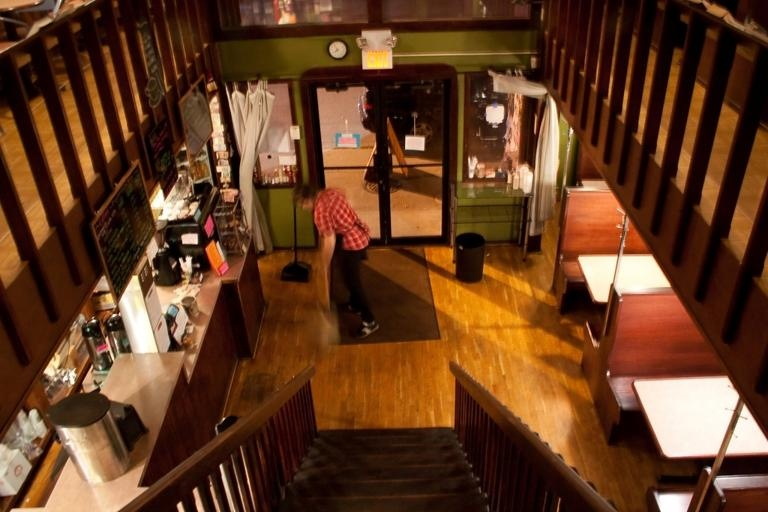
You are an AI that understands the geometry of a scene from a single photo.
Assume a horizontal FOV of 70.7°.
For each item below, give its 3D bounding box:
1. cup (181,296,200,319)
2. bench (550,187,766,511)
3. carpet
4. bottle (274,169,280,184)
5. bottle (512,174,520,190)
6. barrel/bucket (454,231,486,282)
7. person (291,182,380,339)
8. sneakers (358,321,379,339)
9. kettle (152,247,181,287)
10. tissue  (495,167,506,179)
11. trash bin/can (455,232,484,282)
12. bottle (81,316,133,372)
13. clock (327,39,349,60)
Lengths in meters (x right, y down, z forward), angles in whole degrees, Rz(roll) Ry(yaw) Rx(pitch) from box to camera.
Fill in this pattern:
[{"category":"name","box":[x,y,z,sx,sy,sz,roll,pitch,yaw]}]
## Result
[{"category":"cup","box":[-2.091,0.556,5.932,0.145,0.207,0.237,-7,36,-16]},{"category":"bench","box":[3.118,0.410,6.548,1.510,1.547,2.917,-3,35,0]},{"category":"carpet","box":[0.116,0.612,7.840,1.031,0.030,1.683,-1,40,1]},{"category":"bottle","box":[-1.642,-1.157,8.378,0.102,0.187,0.038,-8,23,-10]},{"category":"bottle","box":[1.998,-1.051,8.229,0.084,0.219,0.120,-12,24,-20]},{"category":"barrel/bucket","box":[1.252,0.086,7.986,0.540,0.632,0.624,-1,40,3]},{"category":"person","box":[-0.706,0.164,7.590,0.857,2.036,0.835,-16,46,2]},{"category":"sneakers","box":[-0.203,0.994,7.250,0.116,0.134,0.317,14,38,40]},{"category":"kettle","box":[-2.454,0.159,6.101,0.226,0.411,0.237,0,38,-4]},{"category":"tissue ","box":[1.810,-1.195,8.350,0.161,0.158,0.098,0,-4,0]},{"category":"trash bin/can","box":[1.198,0.027,8.074,0.544,0.635,0.624,-1,40,3]},{"category":"bottle","box":[-2.514,0.804,4.953,0.247,0.467,0.298,3,23,15]},{"category":"clock","box":[-0.632,-2.764,7.549,0.290,0.263,0.071,1,23,12]}]
